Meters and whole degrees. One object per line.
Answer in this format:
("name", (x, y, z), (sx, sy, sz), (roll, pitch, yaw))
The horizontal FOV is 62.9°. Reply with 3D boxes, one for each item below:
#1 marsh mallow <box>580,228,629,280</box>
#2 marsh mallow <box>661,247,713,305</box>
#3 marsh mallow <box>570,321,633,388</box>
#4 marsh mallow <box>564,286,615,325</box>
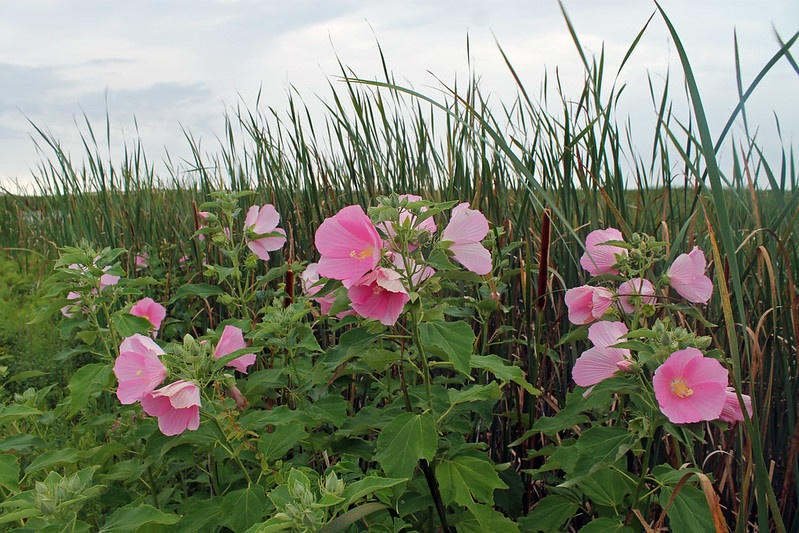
("marsh mallow", (0.949, -0.055, 3.033), (0.208, 0.218, 0.215), (-8, 10, 18))
("marsh mallow", (1.305, 0.034, 2.992), (0.113, 0.225, 0.238), (-1, 55, 53))
("marsh mallow", (0.900, 0.396, 2.879), (0.283, 0.265, 0.196), (-11, 9, 2))
("marsh mallow", (0.890, 0.191, 3.056), (0.186, 0.222, 0.172), (-16, 10, -27))
